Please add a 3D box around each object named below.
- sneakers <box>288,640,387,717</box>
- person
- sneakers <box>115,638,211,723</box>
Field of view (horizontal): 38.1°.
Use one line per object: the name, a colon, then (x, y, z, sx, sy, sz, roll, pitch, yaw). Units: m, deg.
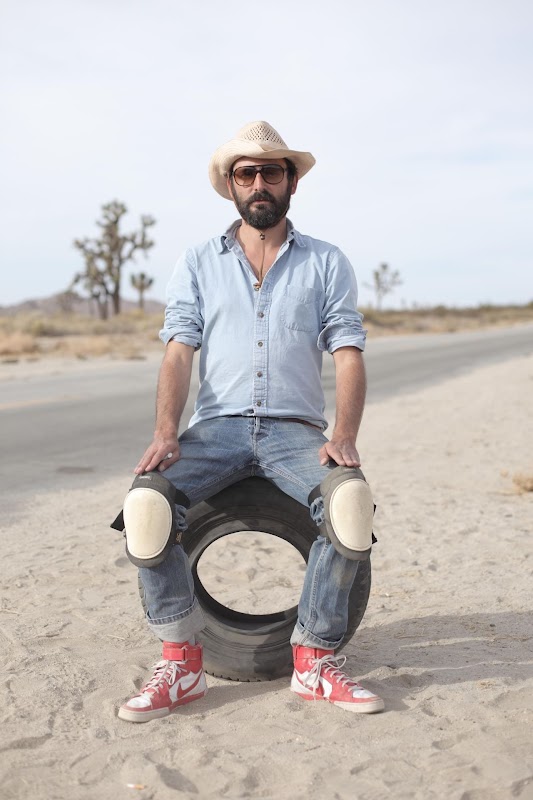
sneakers: (0.214, 0.916, 2.533, 0.313, 0.146, 0.131, -7, -5, 44)
person: (-0.050, -0.027, 2.863, 0.824, 2.106, 1.016, -1, 3, 7)
sneakers: (-0.352, 0.926, 2.561, 0.136, 0.205, 0.350, 1, 3, 32)
